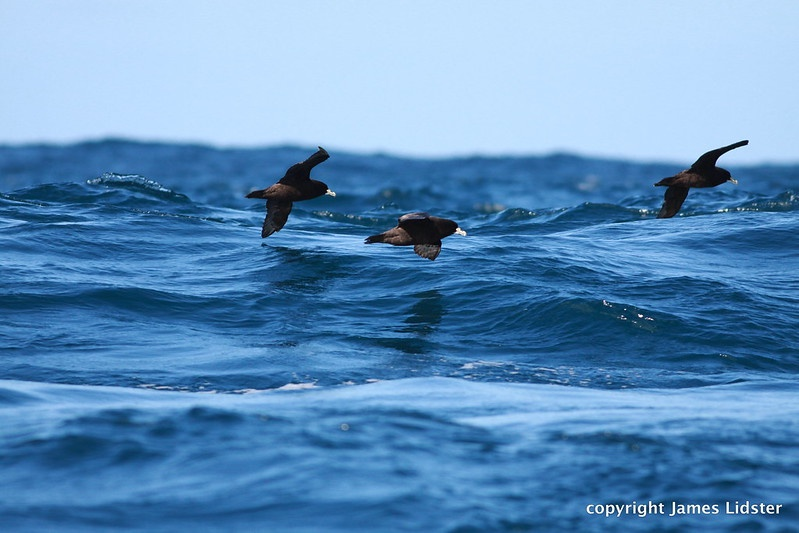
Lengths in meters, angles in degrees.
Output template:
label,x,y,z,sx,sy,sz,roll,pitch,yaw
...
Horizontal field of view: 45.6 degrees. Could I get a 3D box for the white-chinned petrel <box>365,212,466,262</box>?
label,x,y,z,sx,sy,sz,roll,pitch,yaw
white-chinned petrel,0.324,-0.572,16.845,1.747,0.272,1.208,7,-5,8

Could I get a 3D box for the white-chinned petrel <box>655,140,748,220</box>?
label,x,y,z,sx,sy,sz,roll,pitch,yaw
white-chinned petrel,5.255,-1.495,16.788,1.390,1.243,2.196,-3,8,13
